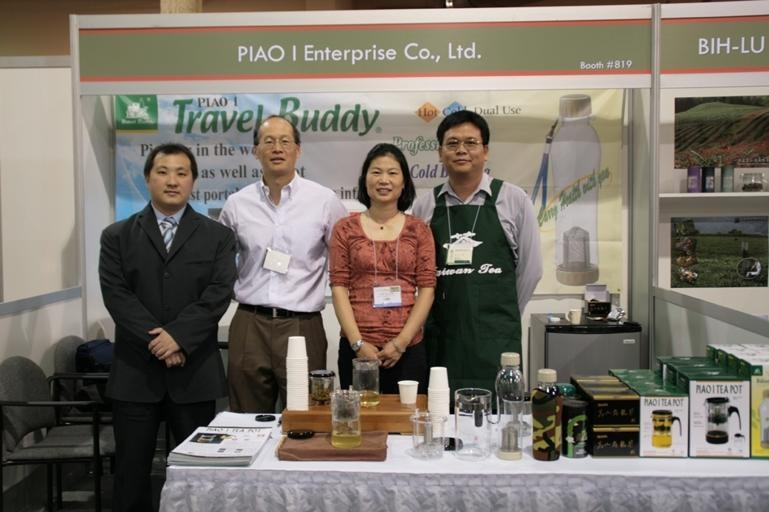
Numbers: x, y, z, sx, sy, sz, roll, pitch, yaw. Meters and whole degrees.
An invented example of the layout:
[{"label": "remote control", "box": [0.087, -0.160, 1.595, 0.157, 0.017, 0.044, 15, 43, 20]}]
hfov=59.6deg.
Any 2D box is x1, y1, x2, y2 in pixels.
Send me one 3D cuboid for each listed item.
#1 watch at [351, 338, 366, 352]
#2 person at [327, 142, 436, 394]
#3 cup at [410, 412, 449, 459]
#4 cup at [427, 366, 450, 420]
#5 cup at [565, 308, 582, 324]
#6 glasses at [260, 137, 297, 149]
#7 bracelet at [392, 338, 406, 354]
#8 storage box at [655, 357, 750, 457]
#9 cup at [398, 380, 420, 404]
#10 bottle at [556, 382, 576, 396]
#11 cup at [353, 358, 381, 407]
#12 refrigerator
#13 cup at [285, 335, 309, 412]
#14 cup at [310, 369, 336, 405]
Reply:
[{"label": "watch", "box": [-0.150, 0.510, 3.857, 0.064, 0.046, 0.064, -2, -5, 12]}, {"label": "person", "box": [0.007, 0.076, 4.038, 0.643, 1.520, 0.422, 0, -1, -14]}, {"label": "cup", "box": [0.211, 0.859, 3.287, 0.195, 0.188, 0.192, 1, 4, 0]}, {"label": "cup", "box": [0.270, 0.666, 3.296, 0.098, 0.235, 0.161, 0, -1, -4]}, {"label": "cup", "box": [1.457, 0.463, 5.163, 0.082, 0.091, 0.125, 1, -3, -8]}, {"label": "glasses", "box": [-0.667, -0.721, 4.273, 0.255, 0.087, 0.099, 0, -1, -16]}, {"label": "bracelet", "box": [0.084, 0.516, 3.886, 0.084, 0.089, 0.038, 0, -1, -21]}, {"label": "storage box", "box": [1.573, 0.783, 3.447, 0.349, 0.640, 0.444, 1, -18, 11]}, {"label": "cup", "box": [0.126, 0.704, 3.487, 0.090, 0.118, 0.114, 0, -1, 3]}, {"label": "bottle", "box": [0.897, 0.646, 3.295, 0.067, 0.027, 0.066, 5, 2, 0]}, {"label": "cup", "box": [-0.086, 0.650, 3.470, 0.149, 0.241, 0.084, 0, -1, -10]}, {"label": "refrigerator", "box": [1.521, 0.672, 5.178, 0.713, 0.705, 0.489, 0, -1, 0]}, {"label": "cup", "box": [-0.438, 0.592, 3.427, 0.112, 0.359, 0.125, 0, -1, -7]}, {"label": "cup", "box": [-0.320, 0.673, 3.460, 0.128, 0.151, 0.158, 1, -4, 1]}]
